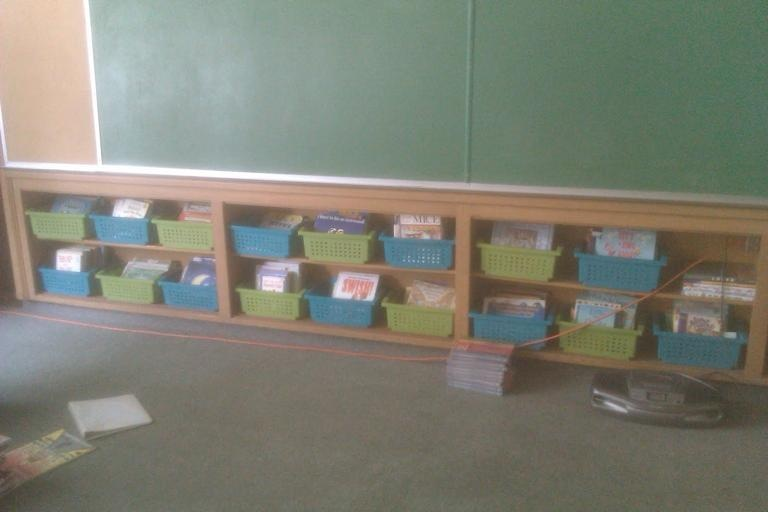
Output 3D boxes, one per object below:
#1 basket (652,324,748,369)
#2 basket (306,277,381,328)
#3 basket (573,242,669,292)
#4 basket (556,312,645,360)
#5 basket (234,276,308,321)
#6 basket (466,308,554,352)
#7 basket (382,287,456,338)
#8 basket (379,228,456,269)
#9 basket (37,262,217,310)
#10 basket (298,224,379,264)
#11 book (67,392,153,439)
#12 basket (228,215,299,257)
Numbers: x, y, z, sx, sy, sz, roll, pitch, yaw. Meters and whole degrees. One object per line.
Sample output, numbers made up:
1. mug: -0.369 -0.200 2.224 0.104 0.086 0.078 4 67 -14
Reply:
1. basket: 1.668 0.490 3.298 0.392 0.153 0.245 2 8 23
2. basket: -0.245 0.286 3.796 0.410 0.158 0.264 3 15 11
3. basket: 1.250 0.058 3.338 0.377 0.156 0.243 3 7 21
4. basket: 1.186 0.434 3.441 0.370 0.144 0.232 3 8 24
5. basket: -0.688 0.274 3.803 0.343 0.130 0.214 1 9 11
6. basket: 0.704 0.412 3.534 0.355 0.128 0.249 2 -2 2
7. basket: 0.189 0.339 3.630 0.343 0.141 0.219 4 10 12
8. basket: 0.187 -0.039 3.543 0.335 0.128 0.214 1 6 10
9. basket: -1.593 0.194 4.033 0.976 0.175 0.467 5 4 11
10. basket: -0.276 -0.067 3.677 0.357 0.148 0.218 4 12 9
11. book: -1.359 0.796 3.137 0.234 0.057 0.229 -7 21 -34
12. basket: -0.720 -0.123 3.778 0.372 0.154 0.244 2 8 15
